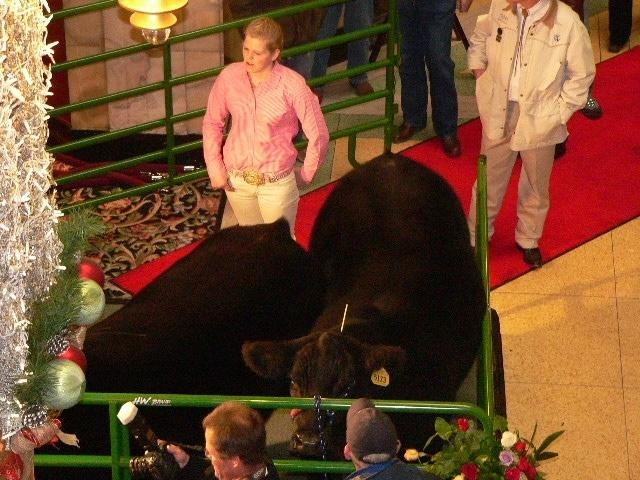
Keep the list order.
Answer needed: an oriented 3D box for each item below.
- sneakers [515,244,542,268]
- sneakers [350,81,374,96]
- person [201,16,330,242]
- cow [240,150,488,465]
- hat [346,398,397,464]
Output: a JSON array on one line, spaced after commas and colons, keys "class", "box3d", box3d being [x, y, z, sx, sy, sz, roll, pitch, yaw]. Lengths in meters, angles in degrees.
[{"class": "sneakers", "box3d": [1.551, 0.091, 5.327, 0.088, 0.086, 0.205, -22, 55, 2]}, {"class": "sneakers", "box3d": [0.430, -1.526, 7.139, 0.221, 0.136, 0.265, -5, 12, 4]}, {"class": "person", "box3d": [-0.325, -0.405, 4.463, 0.728, 1.852, 0.509, 8, 36, 8]}, {"class": "cow", "box3d": [0.380, 0.316, 3.964, 0.816, 0.978, 1.777, 6, 45, 14]}, {"class": "hat", "box3d": [0.188, 0.703, 2.652, 0.130, 0.219, 0.139, -10, -19, -6]}]
